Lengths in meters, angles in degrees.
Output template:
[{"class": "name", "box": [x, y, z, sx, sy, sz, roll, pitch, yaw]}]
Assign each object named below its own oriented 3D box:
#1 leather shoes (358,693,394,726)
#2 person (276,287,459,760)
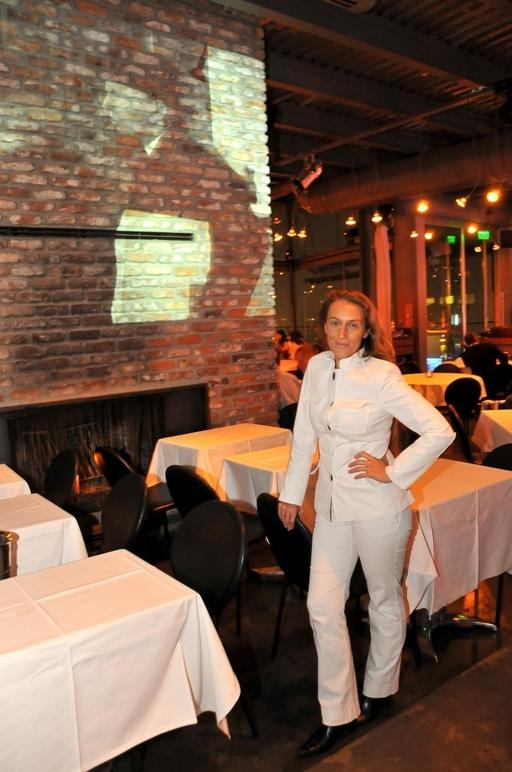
[{"class": "leather shoes", "box": [0.410, 1.051, 1.851, 0.174, 0.073, 0.058, 8, -13, -43]}, {"class": "person", "box": [0.337, 0.396, 1.789, 0.526, 1.102, 0.373, -4, 2, 0]}]
